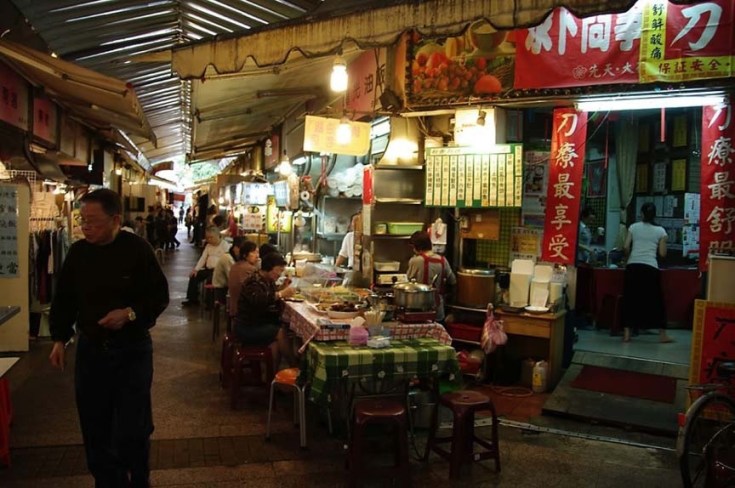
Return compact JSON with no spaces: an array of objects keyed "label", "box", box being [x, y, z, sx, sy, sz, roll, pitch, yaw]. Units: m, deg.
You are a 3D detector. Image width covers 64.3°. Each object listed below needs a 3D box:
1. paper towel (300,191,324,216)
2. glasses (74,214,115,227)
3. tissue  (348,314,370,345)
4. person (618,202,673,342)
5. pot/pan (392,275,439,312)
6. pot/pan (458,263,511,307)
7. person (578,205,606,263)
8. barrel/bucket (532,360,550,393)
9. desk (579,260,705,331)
[{"label":"paper towel","box":[-1.174,-0.909,11.959,0.219,0.397,0.539,-29,41,-36]},{"label":"glasses","box":[-2.518,-0.221,5.536,0.333,0.189,0.151,2,2,-24]},{"label":"tissue ","box":[-0.154,1.024,6.780,0.224,0.373,0.227,1,-6,-3]},{"label":"person","box":[4.799,0.508,10.029,0.712,2.368,0.527,3,2,35]},{"label":"pot/pan","box":[0.573,0.576,7.131,0.325,0.265,0.522,-1,3,-22]},{"label":"pot/pan","box":[1.842,0.663,9.155,0.741,0.521,0.565,0,2,-6]},{"label":"person","box":[4.682,-0.161,12.120,0.397,0.434,1.230,-2,-21,20]},{"label":"barrel/bucket","box":[2.582,1.980,8.640,0.234,0.407,0.167,3,1,12]},{"label":"desk","box":[4.955,1.103,11.261,1.434,0.783,1.507,0,6,8]}]
